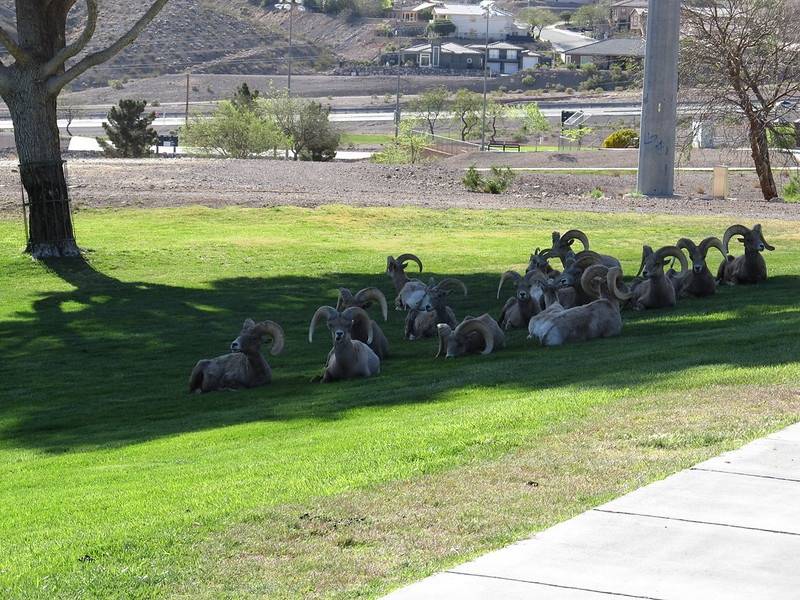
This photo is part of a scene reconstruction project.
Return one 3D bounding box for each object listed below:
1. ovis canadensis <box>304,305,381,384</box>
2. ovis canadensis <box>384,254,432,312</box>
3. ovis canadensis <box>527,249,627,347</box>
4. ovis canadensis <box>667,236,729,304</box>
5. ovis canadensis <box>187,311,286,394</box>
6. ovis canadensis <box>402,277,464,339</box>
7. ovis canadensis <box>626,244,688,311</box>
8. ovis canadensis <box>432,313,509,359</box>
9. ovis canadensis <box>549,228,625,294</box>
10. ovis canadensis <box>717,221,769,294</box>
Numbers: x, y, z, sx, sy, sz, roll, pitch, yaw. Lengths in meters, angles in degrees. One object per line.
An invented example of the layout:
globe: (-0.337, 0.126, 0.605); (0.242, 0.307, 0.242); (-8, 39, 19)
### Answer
ovis canadensis: (-1.068, 0.926, 26.522); (1.351, 1.477, 2.409); (-2, -8, 4)
ovis canadensis: (0.189, -0.491, 33.233); (1.447, 1.386, 0.791); (11, 15, 41)
ovis canadensis: (3.912, 0.168, 27.916); (2.283, 1.595, 1.144); (-20, 17, -22)
ovis canadensis: (7.113, -0.737, 32.203); (1.144, 1.425, 2.239); (-4, 0, 5)
ovis canadensis: (-3.241, 0.965, 26.194); (1.185, 1.310, 2.030); (7, -26, -42)
ovis canadensis: (0.873, 0.327, 29.420); (1.027, 1.506, 1.994); (-7, -13, 11)
ovis canadensis: (5.875, -0.513, 30.671); (1.020, 1.370, 1.710); (-1, -19, 20)
ovis canadensis: (1.466, 0.726, 27.576); (1.449, 0.727, 1.159); (-9, -3, -24)
ovis canadensis: (4.443, -0.926, 31.893); (1.954, 1.430, 0.915); (8, 1, -16)
ovis canadensis: (8.598, -1.141, 33.769); (1.151, 1.550, 2.439); (-4, 0, -11)
